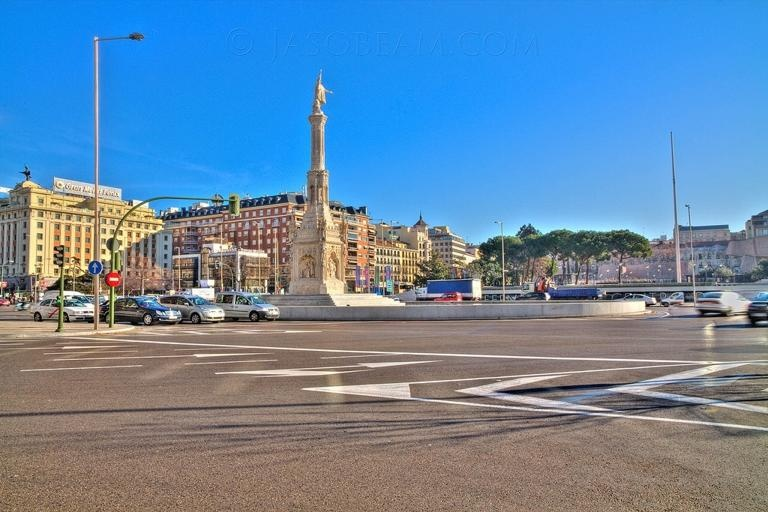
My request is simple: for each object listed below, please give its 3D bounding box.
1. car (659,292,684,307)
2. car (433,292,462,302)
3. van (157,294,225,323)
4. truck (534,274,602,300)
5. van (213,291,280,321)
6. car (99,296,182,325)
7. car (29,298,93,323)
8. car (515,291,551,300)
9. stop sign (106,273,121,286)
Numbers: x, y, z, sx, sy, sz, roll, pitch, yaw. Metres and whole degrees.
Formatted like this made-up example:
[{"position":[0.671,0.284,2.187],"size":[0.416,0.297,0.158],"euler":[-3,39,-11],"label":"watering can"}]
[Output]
[{"position":[25.711,3.938,65.943],"size":[2.226,1.228,1.531],"euler":[-1,-4,25],"label":"car"},{"position":[6.759,4.123,76.150],"size":[2.216,1.017,1.257],"euler":[1,-4,5],"label":"car"},{"position":[-9.717,2.694,37.548],"size":[2.777,1.101,1.477],"euler":[-5,-7,32],"label":"van"},{"position":[22.810,3.684,90.743],"size":[7.118,2.616,3.369],"euler":[0,-5,26],"label":"truck"},{"position":[-7.379,2.773,40.133],"size":[2.877,1.294,1.633],"euler":[-5,-8,23],"label":"van"},{"position":[-11.614,2.699,35.504],"size":[3.687,1.041,1.611],"euler":[-4,-7,26],"label":"car"},{"position":[-16.910,2.848,38.496],"size":[3.659,1.111,1.641],"euler":[-5,-8,31],"label":"car"},{"position":[16.851,4.514,82.729],"size":[3.266,0.990,1.721],"euler":[0,-4,26],"label":"car"},{"position":[-11.346,0.955,30.739],"size":[0.629,0.601,0.204],"euler":[-2,4,-44],"label":"stop sign"}]
